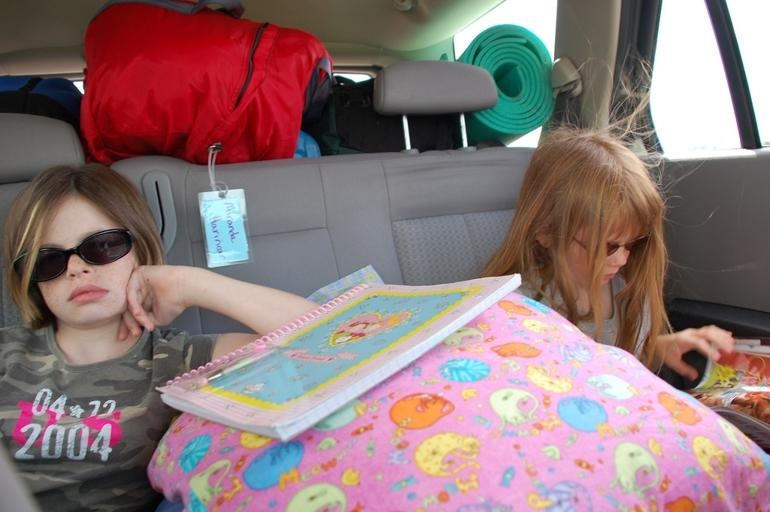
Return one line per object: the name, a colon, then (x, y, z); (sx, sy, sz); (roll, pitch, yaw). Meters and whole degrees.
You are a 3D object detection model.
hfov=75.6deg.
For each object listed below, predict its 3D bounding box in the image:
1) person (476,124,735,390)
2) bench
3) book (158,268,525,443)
person: (0.627, 0.064, 1.496); (0.651, 0.790, 0.619); (1, 24, 6)
bench: (-0.181, -0.209, 1.904); (1.651, 0.579, 0.677); (-3, 6, -8)
book: (-0.091, 0.156, 0.946); (0.610, 0.174, 0.383); (-10, 9, -29)
